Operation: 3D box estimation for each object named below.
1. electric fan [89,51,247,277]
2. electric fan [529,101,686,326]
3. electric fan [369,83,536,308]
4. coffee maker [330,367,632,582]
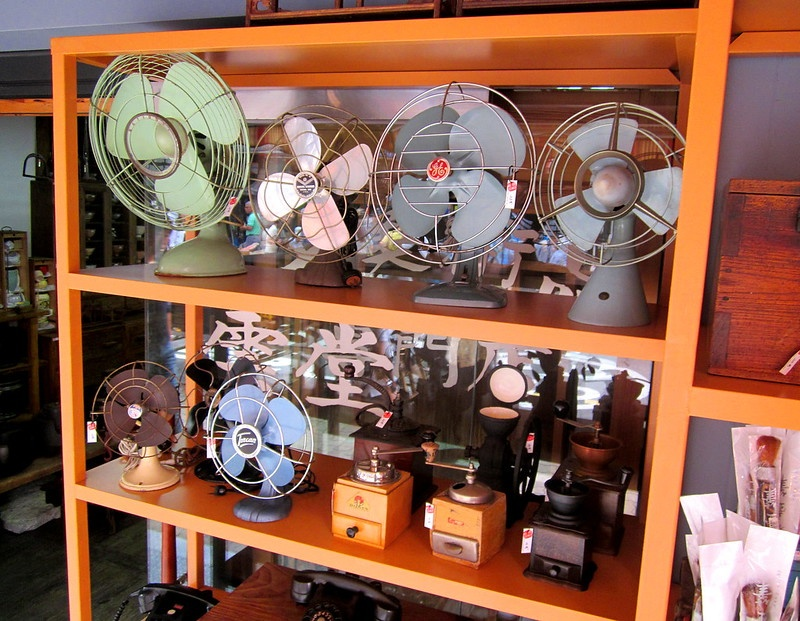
[{"bbox_3d":[-0.673,-0.407,1.896,0.476,0.597,0.400,-2,4,-12],"label":"electric fan"},{"bbox_3d":[0.516,-0.288,1.721,0.419,0.601,0.659,5,7,21],"label":"electric fan"},{"bbox_3d":[0.150,-0.301,1.753,0.480,0.554,0.366,3,7,18],"label":"electric fan"},{"bbox_3d":[0.296,0.360,1.685,0.650,0.281,0.414,1,1,28],"label":"coffee maker"}]
